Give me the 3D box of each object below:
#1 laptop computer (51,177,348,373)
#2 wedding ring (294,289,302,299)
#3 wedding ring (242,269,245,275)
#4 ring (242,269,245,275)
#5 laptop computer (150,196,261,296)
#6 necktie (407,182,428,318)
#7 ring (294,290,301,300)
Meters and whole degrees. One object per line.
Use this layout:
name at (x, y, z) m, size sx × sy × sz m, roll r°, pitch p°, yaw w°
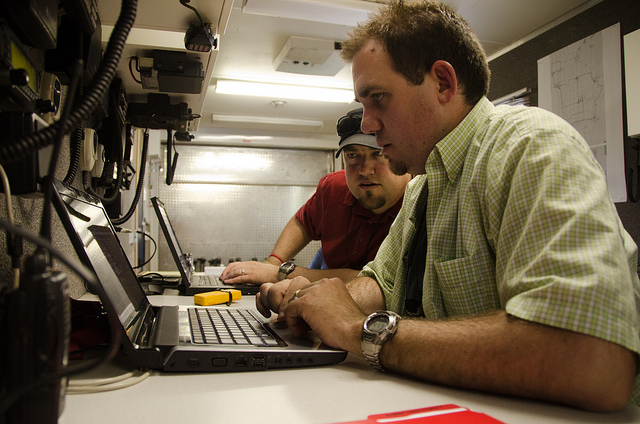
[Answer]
laptop computer at (-0.345, 0.255, 1.350) m, size 0.594 × 0.400 × 0.640 m, roll -4°, pitch 2°, yaw -12°
wedding ring at (-0.067, 0.246, 1.413) m, size 0.007 × 0.019 × 0.015 m, roll 19°, pitch 14°, yaw 31°
wedding ring at (-0.385, 0.300, 2.370) m, size 0.015 × 0.021 × 0.020 m, roll -1°, pitch 0°, yaw 2°
ring at (-0.385, 0.300, 2.370) m, size 0.015 × 0.021 × 0.020 m, roll -1°, pitch 0°, yaw 2°
laptop computer at (-0.539, 0.158, 2.330) m, size 0.514 × 0.338 × 0.540 m, roll -1°, pitch 4°, yaw -13°
necktie at (0.328, 0.126, 1.570) m, size 0.057 × 0.492 × 0.126 m, roll -9°, pitch 34°, yaw 2°
ring at (-0.070, 0.248, 1.412) m, size 0.007 × 0.017 × 0.014 m, roll 15°, pitch 12°, yaw 29°
